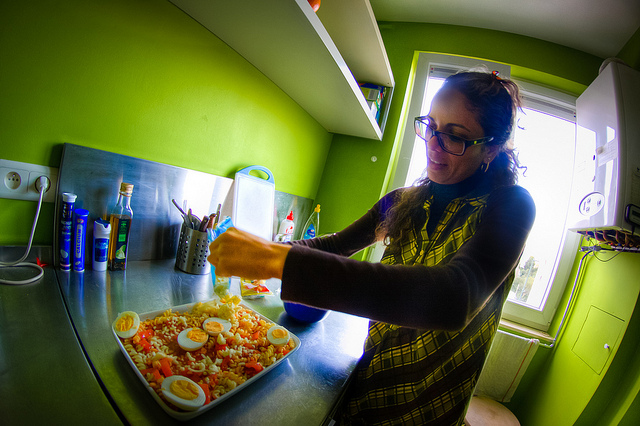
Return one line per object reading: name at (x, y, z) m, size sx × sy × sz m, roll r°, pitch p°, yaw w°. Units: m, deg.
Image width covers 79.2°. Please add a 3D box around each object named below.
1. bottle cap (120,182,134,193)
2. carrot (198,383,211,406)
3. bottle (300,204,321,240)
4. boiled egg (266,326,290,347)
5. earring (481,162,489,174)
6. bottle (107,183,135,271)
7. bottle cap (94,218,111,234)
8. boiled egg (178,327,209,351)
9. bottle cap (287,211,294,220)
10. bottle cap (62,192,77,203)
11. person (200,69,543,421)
bottle cap at (-0.809, -0.105, 1.610) m, size 0.043 × 0.038 × 0.042 m, roll 7°, pitch 4°, yaw -32°
carrot at (-0.375, 0.598, 1.290) m, size 0.033 × 0.048 × 0.046 m, roll -7°, pitch -32°, yaw 0°
bottle at (-0.049, 0.076, 2.606) m, size 0.119 × 0.295 × 0.066 m, roll 14°, pitch 25°, yaw 0°
boiled egg at (-0.162, 0.470, 1.473) m, size 0.086 × 0.052 × 0.061 m, roll 9°, pitch 3°, yaw -1°
earring at (0.661, -0.178, 1.530) m, size 0.025 × 0.032 × 0.009 m, roll 15°, pitch 15°, yaw 8°
bottle at (-0.847, 0.061, 1.658) m, size 0.098 × 0.380 × 0.077 m, roll 6°, pitch 5°, yaw -43°
bottle cap at (-0.911, 0.055, 1.612) m, size 0.061 × 0.057 × 0.060 m, roll 7°, pitch 4°, yaw -25°
boiled egg at (-0.462, 0.455, 1.395) m, size 0.086 × 0.047 × 0.084 m, roll 10°, pitch 3°, yaw 26°
bottle cap at (-0.186, 0.015, 2.370) m, size 0.030 × 0.030 × 0.052 m, roll -7°, pitch -32°, yaw -36°
bottle cap at (-1.003, -0.057, 1.541) m, size 0.039 × 0.036 × 0.039 m, roll 16°, pitch 6°, yaw 31°
person at (0.292, 0.129, 1.481) m, size 0.950 × 1.302 × 0.546 m, roll 9°, pitch 4°, yaw 0°
